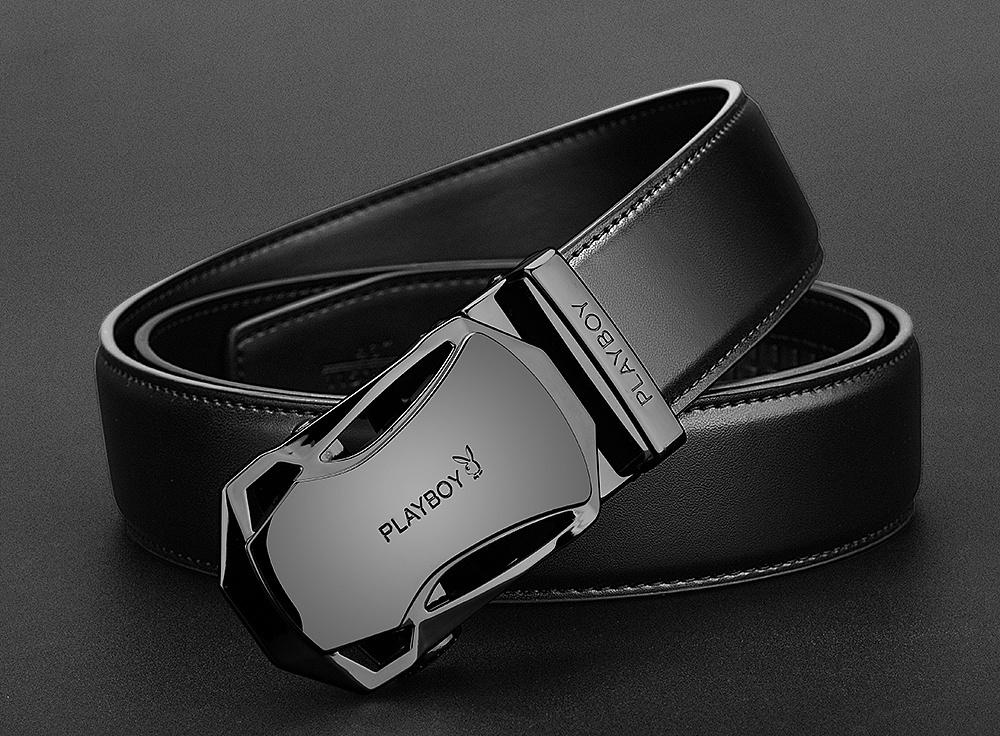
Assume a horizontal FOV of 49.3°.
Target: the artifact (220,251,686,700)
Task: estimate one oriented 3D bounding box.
[{"bbox_3d":[-0.059,0.110,1.034,0.419,0.224,0.239,-33,73,-26],"label":"artifact"}]
